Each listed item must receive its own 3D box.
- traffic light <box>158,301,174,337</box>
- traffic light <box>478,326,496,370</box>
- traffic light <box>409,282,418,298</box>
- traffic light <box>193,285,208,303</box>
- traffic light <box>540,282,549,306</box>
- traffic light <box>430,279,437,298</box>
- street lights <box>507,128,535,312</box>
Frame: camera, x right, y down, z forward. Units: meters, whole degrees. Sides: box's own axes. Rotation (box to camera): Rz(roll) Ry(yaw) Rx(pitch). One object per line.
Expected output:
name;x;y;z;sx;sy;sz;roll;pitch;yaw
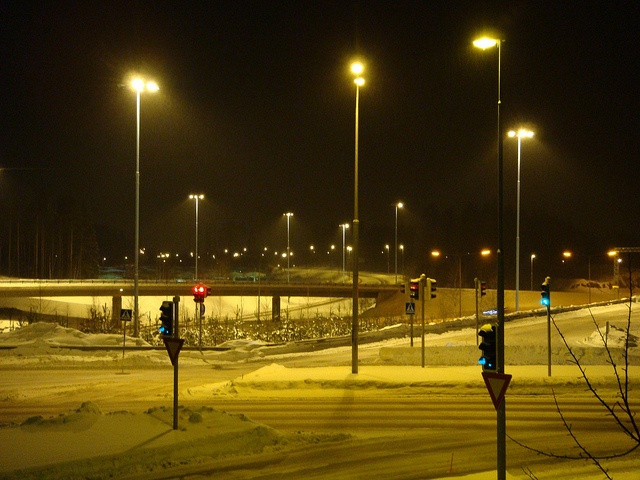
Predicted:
traffic light;-7.127;3.651;36.485;0.628;1.615;0.541;-2;6;-15
traffic light;7.098;4.606;33.238;0.744;1.956;0.541;1;6;13
traffic light;5.616;3.020;46.895;0.474;1.145;0.823;0;6;0
traffic light;-9.636;4.380;61.759;1.093;1.997;1.243;1;3;-1
traffic light;12.086;2.848;42.184;0.348;1.512;2.443;1;6;14
traffic light;6.638;2.891;46.273;0.353;1.127;1.423;1;6;14
street lights;6.720;0.045;25.463;0.704;5.585;0.816;-7;2;21
